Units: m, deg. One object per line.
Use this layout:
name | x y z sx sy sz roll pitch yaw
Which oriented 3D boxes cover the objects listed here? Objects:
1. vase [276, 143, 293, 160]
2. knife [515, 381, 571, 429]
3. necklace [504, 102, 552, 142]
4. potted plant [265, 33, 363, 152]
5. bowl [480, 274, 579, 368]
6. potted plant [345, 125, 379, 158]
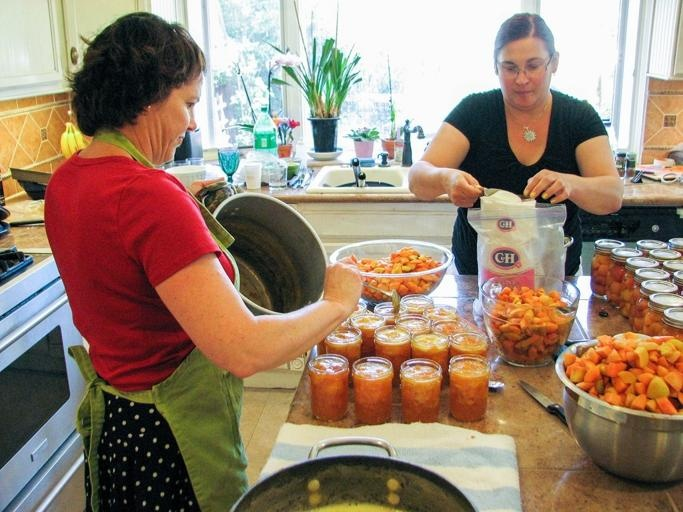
vase | -0.395 -0.726 3.825 0.109 0.080 0.107 -1 9 -1
knife | 0.506 0.364 1.359 0.027 0.016 0.192 -18 18 -6
necklace | 0.716 -0.496 2.094 0.124 0.140 0.167 -6 40 12
potted plant | -0.130 -1.121 3.856 0.737 0.839 0.653 -2 1 -37
bowl | 0.519 0.164 1.522 0.235 0.181 0.246 -1 5 0
potted plant | 0.150 -0.789 3.884 0.236 0.200 0.222 -1 2 0
